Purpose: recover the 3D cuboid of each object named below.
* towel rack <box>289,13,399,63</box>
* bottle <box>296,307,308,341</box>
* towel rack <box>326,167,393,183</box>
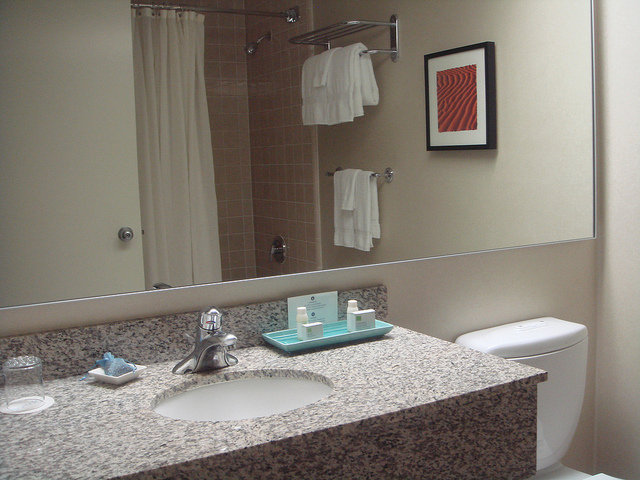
[{"bbox_3d":[0.097,-0.656,1.792,0.200,0.161,0.378,18,38,32],"label":"towel rack"},{"bbox_3d":[-0.056,0.257,1.648,0.033,0.089,0.062,-2,12,-3],"label":"bottle"},{"bbox_3d":[0.124,-0.224,1.814,0.197,0.069,0.059,0,-4,-32],"label":"towel rack"}]
